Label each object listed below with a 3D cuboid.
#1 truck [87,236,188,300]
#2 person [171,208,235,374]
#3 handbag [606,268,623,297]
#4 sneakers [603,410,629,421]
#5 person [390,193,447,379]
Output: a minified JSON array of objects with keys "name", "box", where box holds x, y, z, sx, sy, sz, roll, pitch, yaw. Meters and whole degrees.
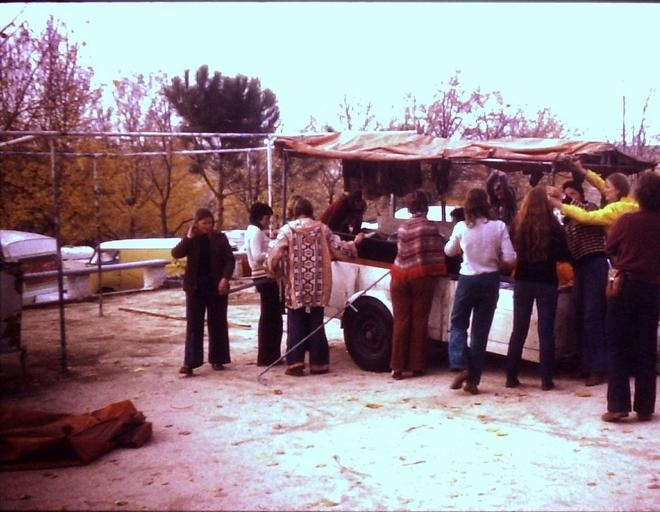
[{"name":"truck","box":[-7.710,0.509,20.425,3.624,2.375,2.380,-1,-1,5]},{"name":"person","box":[-1.683,0.466,7.621,0.784,2.222,0.557,-2,5,-11]},{"name":"handbag","box":[2.649,0.243,5.316,0.105,0.264,0.167,-2,5,-4]},{"name":"sneakers","box":[2.721,1.512,5.412,0.235,0.109,0.105,-2,4,28]},{"name":"person","box":[1.103,0.384,7.170,0.682,2.351,0.355,-1,5,10]}]
